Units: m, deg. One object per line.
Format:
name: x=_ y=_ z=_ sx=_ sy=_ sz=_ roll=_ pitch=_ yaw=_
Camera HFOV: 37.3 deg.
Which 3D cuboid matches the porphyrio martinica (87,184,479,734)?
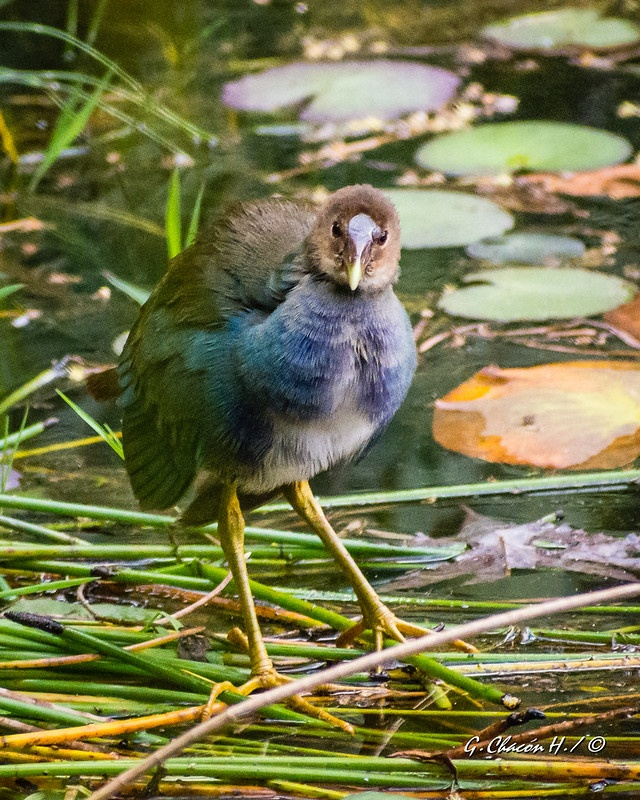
porphyrio martinica: x=-0.071 y=0.022 z=1.473 sx=0.436 sy=0.706 sz=0.513 roll=-11 pitch=25 yaw=-16
